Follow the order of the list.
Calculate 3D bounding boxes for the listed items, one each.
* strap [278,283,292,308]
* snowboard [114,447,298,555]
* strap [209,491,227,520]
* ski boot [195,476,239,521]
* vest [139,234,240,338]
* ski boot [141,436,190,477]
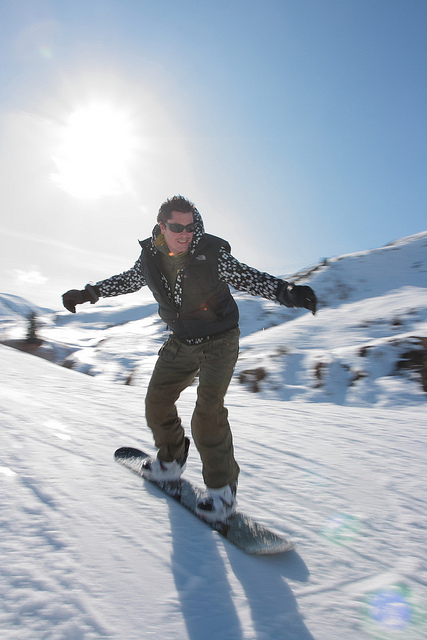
[{"bbox_3d":[0.416,-0.141,3.433,0.051,0.121,0.100,-3,-1,-14],"label":"strap"},{"bbox_3d":[-0.392,1.011,4.146,0.402,0.120,2.670,-5,9,-36],"label":"snowboard"},{"bbox_3d":[0.020,1.127,3.515,0.141,0.137,0.074,15,5,9],"label":"strap"},{"bbox_3d":[0.027,1.083,3.605,0.152,0.259,0.427,-9,-7,34],"label":"ski boot"},{"bbox_3d":[-0.155,-0.224,3.757,0.721,0.539,0.417,13,5,2],"label":"vest"},{"bbox_3d":[-0.355,0.970,4.106,0.336,0.292,0.196,-3,9,-32],"label":"ski boot"}]
